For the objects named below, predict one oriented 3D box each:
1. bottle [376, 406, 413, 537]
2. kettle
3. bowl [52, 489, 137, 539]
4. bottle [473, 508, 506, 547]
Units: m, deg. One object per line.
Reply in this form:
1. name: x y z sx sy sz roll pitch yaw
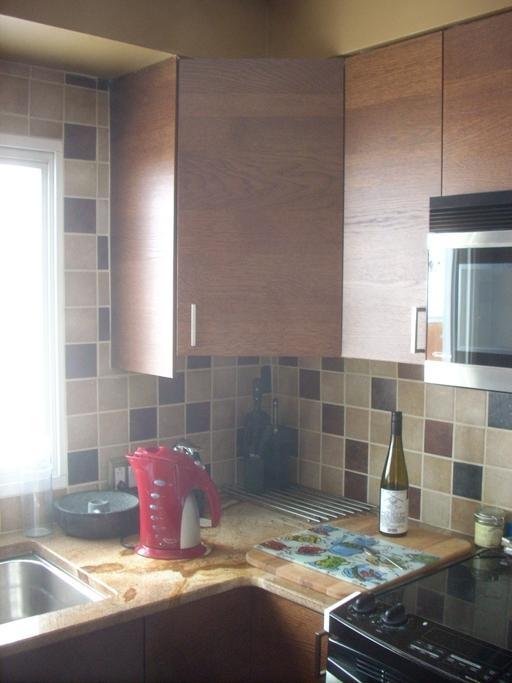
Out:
1. bottle: 0.360 0.329 1.499 0.072 0.318 0.201 -1 3 13
2. kettle: -0.182 0.385 1.438 0.256 0.314 0.183 2 0 6
3. bowl: -0.416 0.461 1.502 0.214 0.089 0.210 -1 3 0
4. bottle: 0.558 0.446 1.394 0.071 0.083 0.086 1 4 4
